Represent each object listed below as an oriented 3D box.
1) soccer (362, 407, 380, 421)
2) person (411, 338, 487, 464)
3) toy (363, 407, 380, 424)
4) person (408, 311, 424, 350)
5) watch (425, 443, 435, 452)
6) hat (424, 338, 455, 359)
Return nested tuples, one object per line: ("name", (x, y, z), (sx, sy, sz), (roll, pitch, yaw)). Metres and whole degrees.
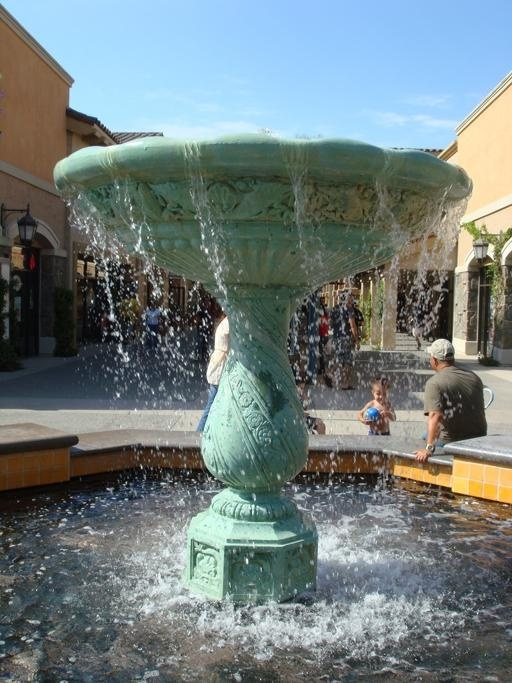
("soccer", (1.098, 0.694, 5.732), (0.109, 0.148, 0.121), (10, -5, -3))
("person", (1.482, 0.451, 4.528), (0.640, 0.913, 0.431), (0, 2, -35))
("toy", (1.102, 0.699, 5.738), (0.106, 0.169, 0.147), (1, 13, -1))
("person", (7.572, -0.499, 28.301), (0.880, 1.843, 0.497), (5, 6, -2))
("watch", (1.307, 0.793, 4.515), (0.050, 0.063, 0.056), (3, 4, 44))
("hat", (1.405, 0.061, 4.579), (0.122, 0.121, 0.207), (-1, 19, 2))
